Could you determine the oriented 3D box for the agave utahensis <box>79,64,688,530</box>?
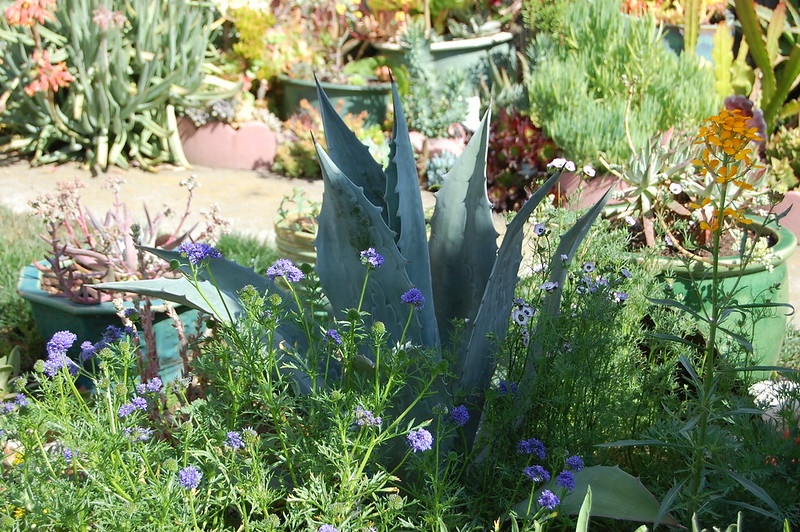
[{"bbox_3d":[-0.127,0.029,4.408,2.044,1.644,2.058,2,7,-38],"label":"agave utahensis"}]

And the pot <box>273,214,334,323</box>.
[{"bbox_3d":[-0.475,0.022,4.621,0.346,0.491,0.473,2,27,8],"label":"pot"}]
